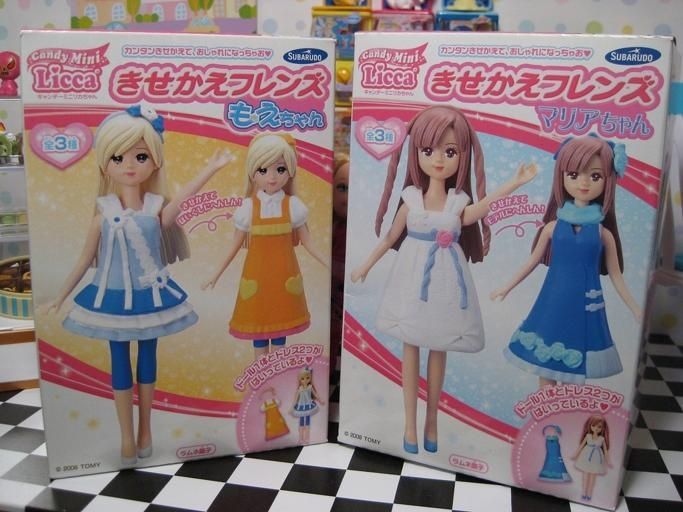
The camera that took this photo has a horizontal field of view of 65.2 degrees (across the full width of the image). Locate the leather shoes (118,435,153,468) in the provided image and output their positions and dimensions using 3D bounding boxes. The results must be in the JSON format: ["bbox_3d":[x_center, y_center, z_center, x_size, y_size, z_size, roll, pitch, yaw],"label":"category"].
[{"bbox_3d":[-0.984,0.939,2.553,0.077,0.056,0.152,6,20,29],"label":"leather shoes"}]
